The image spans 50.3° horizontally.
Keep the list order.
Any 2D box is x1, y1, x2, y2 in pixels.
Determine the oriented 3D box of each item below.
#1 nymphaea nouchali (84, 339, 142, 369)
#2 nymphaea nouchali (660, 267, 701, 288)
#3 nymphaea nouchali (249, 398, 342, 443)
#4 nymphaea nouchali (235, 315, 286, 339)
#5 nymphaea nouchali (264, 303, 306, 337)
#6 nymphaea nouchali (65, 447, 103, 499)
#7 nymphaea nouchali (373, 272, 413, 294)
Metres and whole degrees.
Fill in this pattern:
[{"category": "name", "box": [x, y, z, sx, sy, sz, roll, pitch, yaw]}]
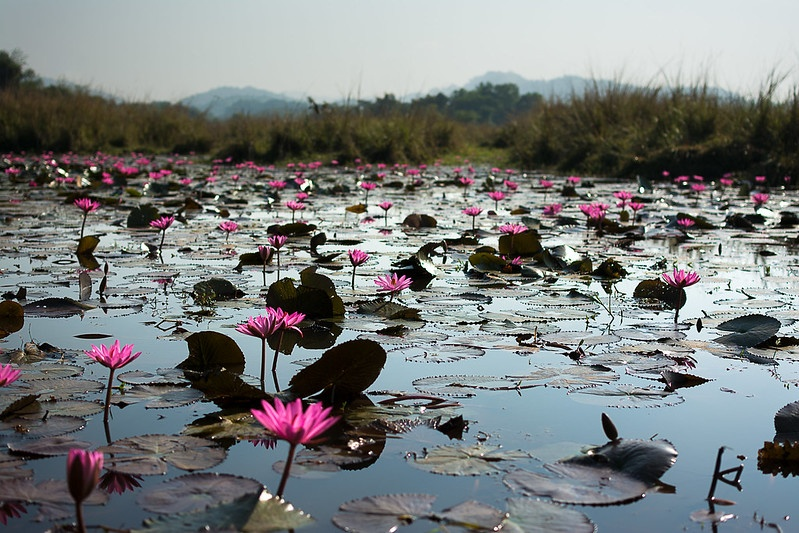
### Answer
[{"category": "nymphaea nouchali", "box": [-1.124, 0.339, 3.294, 0.232, 0.115, 0.224, 0, -3, 29]}, {"category": "nymphaea nouchali", "box": [1.418, 0.063, 4.213, 0.175, 0.081, 0.170, 2, -2, -36]}, {"category": "nymphaea nouchali", "box": [-0.339, 0.503, 2.823, 0.258, 0.109, 0.240, 6, 0, -31]}, {"category": "nymphaea nouchali", "box": [-0.547, 0.219, 3.398, 0.131, 0.062, 0.137, -12, -4, 26]}, {"category": "nymphaea nouchali", "box": [-0.457, 0.221, 3.509, 0.190, 0.074, 0.182, 15, -15, -34]}, {"category": "nymphaea nouchali", "box": [-1.004, 0.666, 2.726, 0.101, 0.169, 0.077, -8, 16, -31]}, {"category": "nymphaea nouchali", "box": [-0.007, 0.108, 4.301, 0.126, 0.063, 0.137, 17, 26, 34]}]
